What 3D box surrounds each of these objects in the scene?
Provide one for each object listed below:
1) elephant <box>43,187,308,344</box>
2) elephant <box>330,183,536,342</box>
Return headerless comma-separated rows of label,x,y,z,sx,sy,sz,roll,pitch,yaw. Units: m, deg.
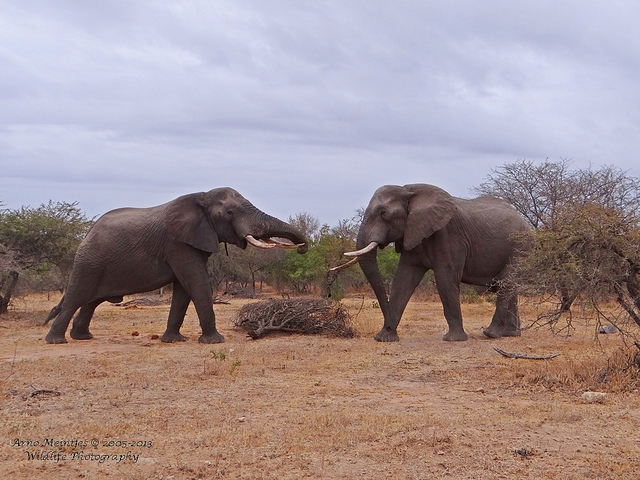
elephant,-3.395,0.694,12.532,5.865,3.410,2.035,-3,2,-5
elephant,2.877,0.616,13.116,4.885,3.657,2.249,3,-3,-12
